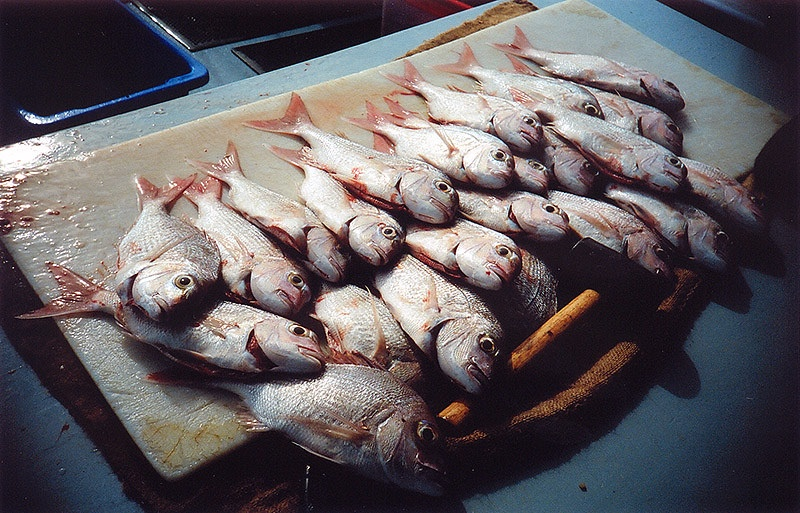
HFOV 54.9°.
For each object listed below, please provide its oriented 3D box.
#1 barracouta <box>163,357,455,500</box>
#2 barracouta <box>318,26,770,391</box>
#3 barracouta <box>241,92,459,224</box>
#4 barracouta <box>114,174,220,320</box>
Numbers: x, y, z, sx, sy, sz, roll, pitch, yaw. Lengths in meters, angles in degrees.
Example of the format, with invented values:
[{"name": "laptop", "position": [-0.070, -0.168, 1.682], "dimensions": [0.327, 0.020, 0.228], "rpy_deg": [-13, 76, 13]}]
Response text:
[{"name": "barracouta", "position": [-0.208, 0.749, 3.601], "dimensions": [0.949, 0.276, 0.430], "rpy_deg": [15, 62, 13]}, {"name": "barracouta", "position": [1.111, -0.093, 4.159], "dimensions": [2.257, 0.547, 2.053], "rpy_deg": [-32, 60, -4]}, {"name": "barracouta", "position": [-0.066, -0.412, 4.245], "dimensions": [1.371, 0.722, 0.770], "rpy_deg": [7, 93, 42]}, {"name": "barracouta", "position": [-1.156, -0.016, 3.797], "dimensions": [0.431, 0.423, 0.656], "rpy_deg": [-10, 30, -16]}]
